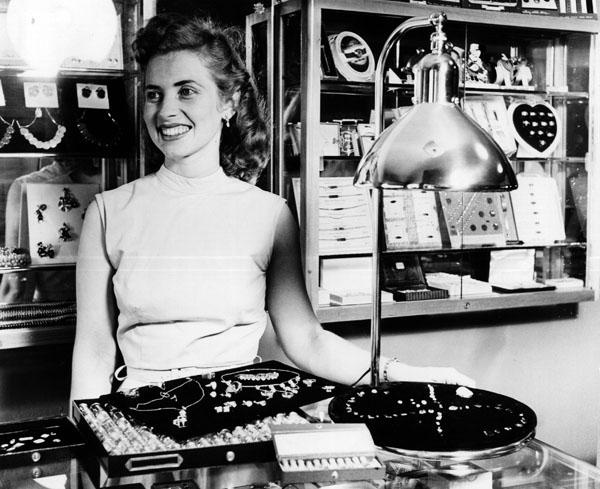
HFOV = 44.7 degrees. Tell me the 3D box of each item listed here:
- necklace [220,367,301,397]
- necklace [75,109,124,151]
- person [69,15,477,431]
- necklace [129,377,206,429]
[{"bbox_3d":[-0.102,0.353,1.893,0.201,0.031,0.198,-2,4,-2],"label":"necklace"},{"bbox_3d":[-0.729,-0.416,2.679,0.143,0.154,0.040,-36,-5,0],"label":"necklace"},{"bbox_3d":[-0.313,-0.171,2.554,0.902,1.268,0.522,-2,3,1],"label":"person"},{"bbox_3d":[-0.321,0.379,1.751,0.185,0.040,0.277,-3,5,-10],"label":"necklace"}]
